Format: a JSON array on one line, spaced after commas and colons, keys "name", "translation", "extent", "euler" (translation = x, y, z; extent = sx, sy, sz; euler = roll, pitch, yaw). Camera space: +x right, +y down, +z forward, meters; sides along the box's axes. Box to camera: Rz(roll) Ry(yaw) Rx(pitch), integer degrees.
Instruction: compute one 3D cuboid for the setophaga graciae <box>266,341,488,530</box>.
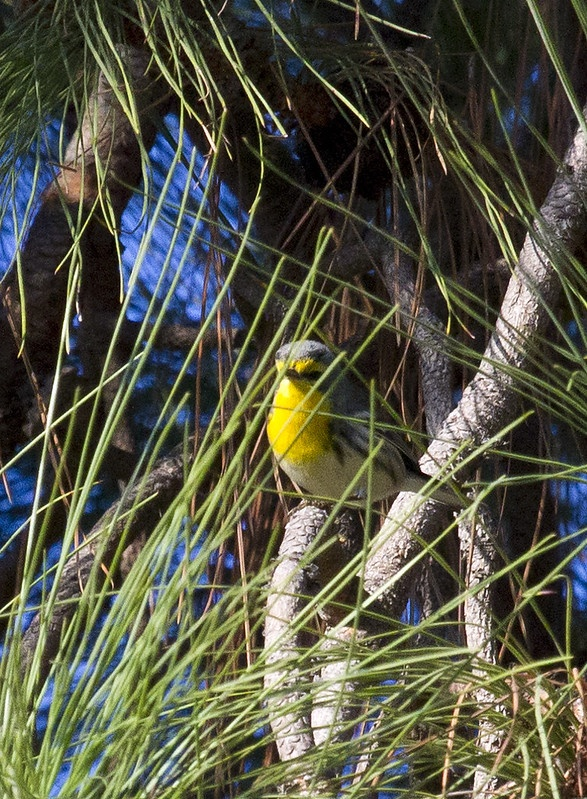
[{"name": "setophaga graciae", "translation": [0.111, 0.037, 1.895], "extent": [0.322, 0.256, 0.185], "euler": [-4, 2, -35]}]
